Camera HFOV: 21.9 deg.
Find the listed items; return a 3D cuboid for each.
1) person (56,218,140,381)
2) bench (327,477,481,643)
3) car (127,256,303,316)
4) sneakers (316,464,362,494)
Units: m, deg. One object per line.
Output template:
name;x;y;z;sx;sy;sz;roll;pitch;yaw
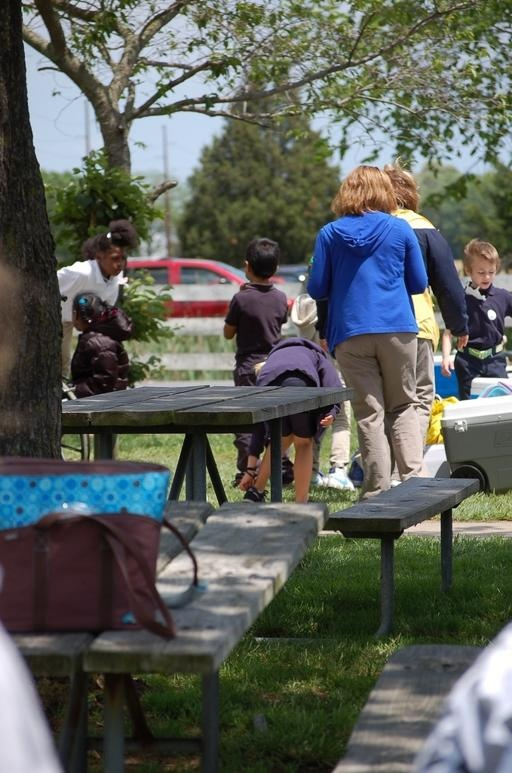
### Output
person;-0.915;-0.353;7.367;0.489;1.118;0.360;3;8;6
bench;0.527;0.589;4.717;0.318;0.404;1.229;-2;3;21
car;-1.158;-1.750;23.218;3.316;1.259;1.532;-1;4;7
sneakers;0.469;0.566;8.019;0.292;0.121;0.103;9;3;-15
